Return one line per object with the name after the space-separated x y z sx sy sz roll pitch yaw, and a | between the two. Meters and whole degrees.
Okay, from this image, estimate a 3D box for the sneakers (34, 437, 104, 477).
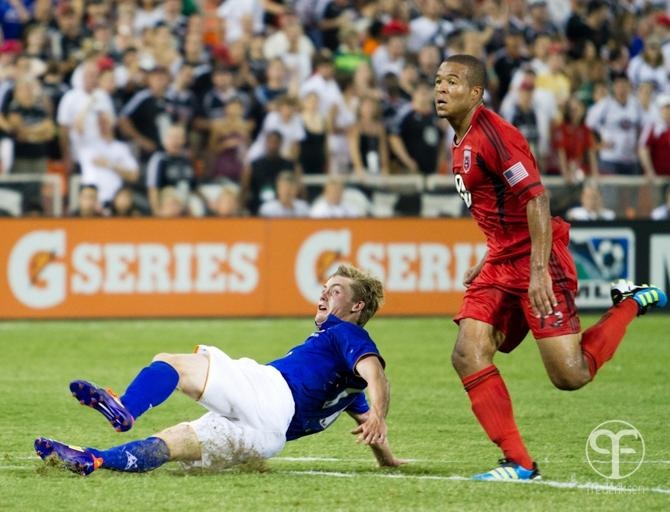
-1.839 1.393 9.356 0.307 0.119 0.140 31 6 7 | sneakers

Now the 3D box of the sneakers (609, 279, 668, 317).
2.358 0.358 10.435 0.507 0.258 0.208 10 -37 -10 | sneakers

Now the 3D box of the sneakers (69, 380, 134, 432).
-1.691 1.098 9.765 0.447 0.166 0.242 44 15 1 | sneakers

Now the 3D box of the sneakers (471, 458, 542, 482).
1.217 1.517 9.578 0.486 0.180 0.183 1 -23 -3 | sneakers
